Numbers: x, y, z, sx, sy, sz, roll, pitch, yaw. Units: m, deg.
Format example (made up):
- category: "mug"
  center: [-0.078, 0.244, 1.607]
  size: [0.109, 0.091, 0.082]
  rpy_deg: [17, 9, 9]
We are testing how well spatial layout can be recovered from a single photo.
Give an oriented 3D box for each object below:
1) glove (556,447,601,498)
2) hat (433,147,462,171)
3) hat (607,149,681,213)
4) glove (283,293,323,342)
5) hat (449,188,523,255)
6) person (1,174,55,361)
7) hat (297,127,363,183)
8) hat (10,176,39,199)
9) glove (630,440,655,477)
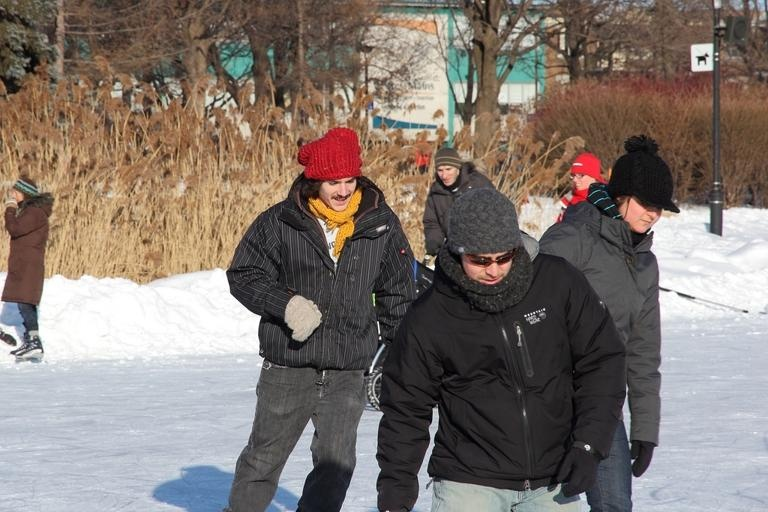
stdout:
- category: "glove"
  center: [1.714, 1.867, 9.939]
  size: [0.317, 0.432, 0.152]
  rpy_deg: [10, -1, 17]
- category: "hat"
  center: [0.921, -1.362, 16.282]
  size: [0.322, 0.257, 0.318]
  rpy_deg: [0, 4, 17]
- category: "hat"
  center: [2.496, -0.707, 11.034]
  size: [0.658, 0.444, 0.494]
  rpy_deg: [24, 13, 35]
- category: "glove"
  center: [-0.764, 0.589, 10.849]
  size: [0.404, 0.348, 0.159]
  rpy_deg: [-37, -15, -3]
- category: "hat"
  center: [0.868, -0.297, 10.097]
  size: [0.593, 0.455, 0.579]
  rpy_deg: [-4, 3, -39]
- category: "person"
  center: [-5.298, 0.210, 17.037]
  size: [0.751, 2.666, 0.903]
  rpy_deg: [-2, 6, -15]
- category: "hat"
  center: [-0.469, -0.960, 10.963]
  size: [0.473, 0.351, 0.594]
  rpy_deg: [-3, 4, -11]
- category: "hat"
  center: [-5.364, -1.001, 17.174]
  size: [0.276, 0.201, 0.365]
  rpy_deg: [33, 7, 9]
- category: "glove"
  center: [2.444, 1.886, 10.704]
  size: [0.234, 0.333, 0.236]
  rpy_deg: [0, 6, 13]
